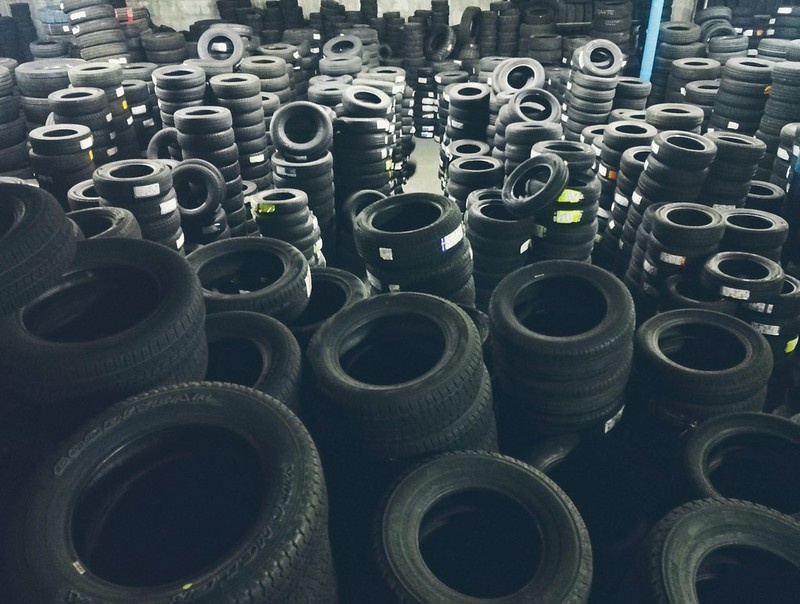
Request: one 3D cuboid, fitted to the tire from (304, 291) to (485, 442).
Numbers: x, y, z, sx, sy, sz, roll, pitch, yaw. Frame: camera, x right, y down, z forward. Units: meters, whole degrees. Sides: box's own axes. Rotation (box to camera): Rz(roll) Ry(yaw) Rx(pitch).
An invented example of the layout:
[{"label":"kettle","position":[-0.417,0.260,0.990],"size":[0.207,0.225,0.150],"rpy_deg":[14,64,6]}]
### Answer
[{"label":"tire","position":[-0.032,0.483,5.767],"size":[1.317,0.524,1.452],"rpy_deg":[8,37,16]}]
